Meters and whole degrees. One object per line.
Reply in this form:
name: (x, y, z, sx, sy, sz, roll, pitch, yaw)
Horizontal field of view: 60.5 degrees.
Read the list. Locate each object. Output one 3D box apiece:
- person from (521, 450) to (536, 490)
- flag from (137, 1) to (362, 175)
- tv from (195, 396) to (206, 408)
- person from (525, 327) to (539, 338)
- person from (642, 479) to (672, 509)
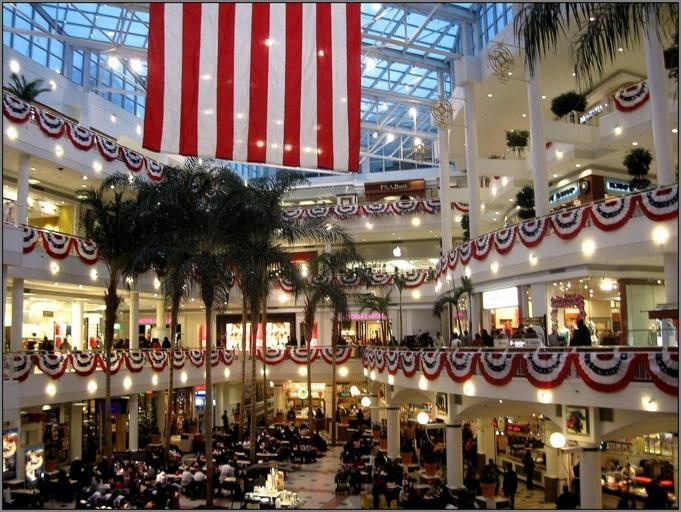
person: (8.299, 9.333, 25.619, 0.475, 1.482, 1.382, -4, -11, 18)
flag: (-2.991, -6.193, 20.800, 6.602, 7.958, 0.277, 1, 2, 0)
tv: (-9.125, 9.470, 37.994, 0.557, 0.647, 0.380, -1, -10, -1)
person: (6.379, 2.515, 19.426, 0.393, 0.427, 1.123, -4, -13, 17)
person: (9.558, 7.238, 17.713, 0.535, 0.741, 0.741, -7, -12, 27)
